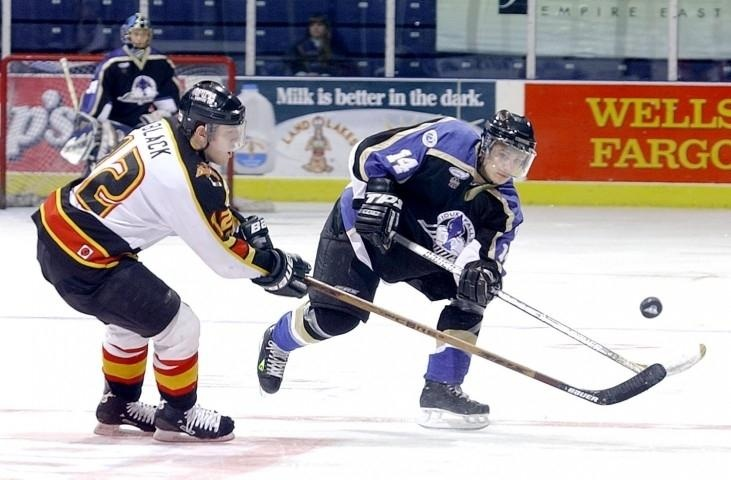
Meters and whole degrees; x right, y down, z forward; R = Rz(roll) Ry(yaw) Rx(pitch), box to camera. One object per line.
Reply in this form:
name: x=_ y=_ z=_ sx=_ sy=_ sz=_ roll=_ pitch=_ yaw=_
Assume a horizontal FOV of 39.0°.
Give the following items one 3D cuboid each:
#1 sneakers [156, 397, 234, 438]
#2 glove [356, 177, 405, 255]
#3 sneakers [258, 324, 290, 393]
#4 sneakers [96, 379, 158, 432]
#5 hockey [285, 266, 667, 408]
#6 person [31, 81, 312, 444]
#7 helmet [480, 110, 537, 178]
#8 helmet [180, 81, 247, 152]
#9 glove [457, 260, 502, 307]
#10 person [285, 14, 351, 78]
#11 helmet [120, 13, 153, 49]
sneakers: x=-0.879 y=0.937 z=5.419 sx=0.444 sy=0.221 sz=0.162 roll=0 pitch=1 yaw=-5
glove: x=0.074 y=-0.129 z=5.621 sx=0.268 sy=0.381 sz=0.185 roll=15 pitch=0 yaw=8
sneakers: x=-0.526 y=0.657 z=5.798 sx=0.150 sy=0.390 sz=0.180 roll=8 pitch=-22 yaw=-25
sneakers: x=-1.239 y=0.918 z=5.430 sx=0.411 sy=0.194 sz=0.132 roll=10 pitch=-7 yaw=-38
hockey: x=0.601 y=0.599 z=6.066 sx=1.864 sy=0.202 sz=0.217 roll=17 pitch=-30 yaw=10
person: x=-1.017 y=0.109 z=5.265 sx=1.309 sy=1.827 sz=0.409 roll=3 pitch=10 yaw=-14
helmet: x=0.755 y=-0.510 z=5.545 sx=0.292 sy=0.351 sz=0.245 roll=6 pitch=10 yaw=5
helmet: x=-0.782 y=-0.637 z=5.327 sx=0.380 sy=0.306 sz=0.304 roll=14 pitch=15 yaw=25
glove: x=0.596 y=0.235 z=5.479 sx=0.214 sy=0.249 sz=0.133 roll=15 pitch=-11 yaw=9
person: x=-0.549 y=-2.126 z=11.341 sx=0.637 sy=0.703 sz=0.279 roll=0 pitch=-4 yaw=-4
helmet: x=-2.095 y=-1.937 z=9.468 sx=0.275 sy=0.281 sz=0.311 roll=-1 pitch=23 yaw=-27
